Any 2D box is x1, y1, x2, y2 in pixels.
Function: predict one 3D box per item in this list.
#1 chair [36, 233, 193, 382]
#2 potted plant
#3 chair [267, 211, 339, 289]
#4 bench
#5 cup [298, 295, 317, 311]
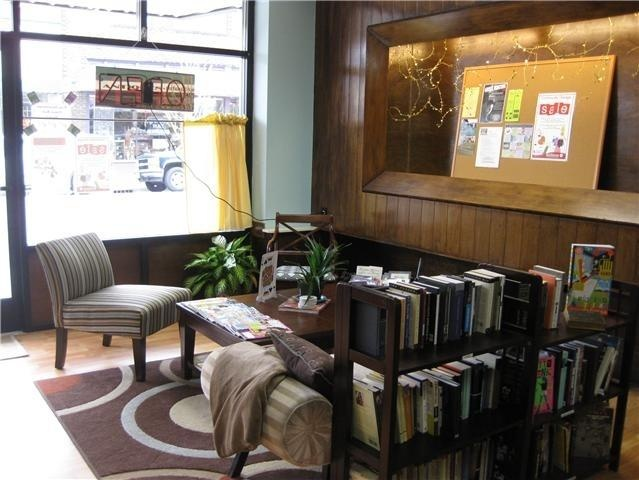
[{"bbox_3d":[-1.647,0.488,3.945,0.982,0.978,0.834,6,8,18],"label":"chair"},{"bbox_3d":[-0.019,0.226,3.883,0.442,0.548,0.517,3,8,-4],"label":"potted plant"},{"bbox_3d":[-0.193,0.003,4.862,0.518,0.938,0.547,1,-2,-4],"label":"chair"},{"bbox_3d":[-0.290,0.908,2.397,0.434,0.625,0.683,-6,14,-30],"label":"bench"},{"bbox_3d":[-0.099,0.465,3.599,0.111,0.067,0.111,1,1,0],"label":"cup"}]
